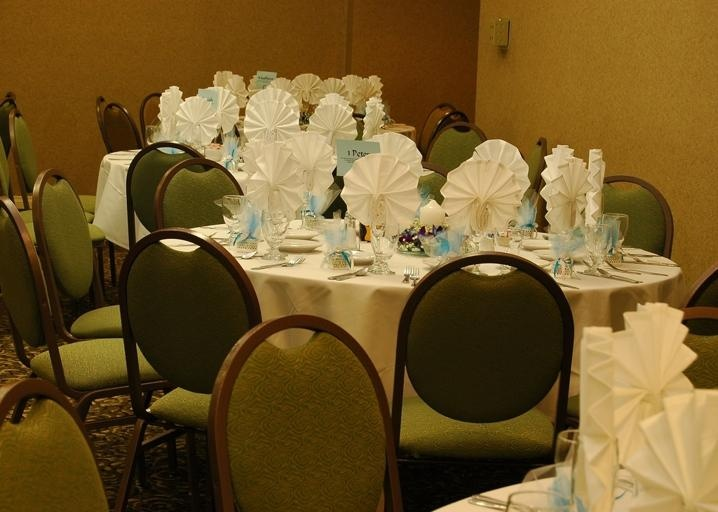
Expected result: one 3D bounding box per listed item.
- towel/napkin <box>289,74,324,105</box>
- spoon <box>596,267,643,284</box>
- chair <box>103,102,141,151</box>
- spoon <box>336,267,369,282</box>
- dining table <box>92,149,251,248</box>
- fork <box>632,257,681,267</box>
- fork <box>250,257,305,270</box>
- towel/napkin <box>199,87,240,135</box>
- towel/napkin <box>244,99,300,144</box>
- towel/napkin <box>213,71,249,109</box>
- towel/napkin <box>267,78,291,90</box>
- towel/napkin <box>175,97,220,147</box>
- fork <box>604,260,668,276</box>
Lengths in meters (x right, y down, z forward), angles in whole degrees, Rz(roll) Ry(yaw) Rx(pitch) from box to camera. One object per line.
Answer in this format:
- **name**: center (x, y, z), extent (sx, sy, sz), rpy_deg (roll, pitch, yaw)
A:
- **towel/napkin**: center (-0.571, -1.868, 6.228), extent (0.279, 0.346, 0.101), rpy_deg (0, 9, -14)
- **spoon**: center (1.154, 0.092, 2.493), extent (0.026, 0.026, 0.155), rpy_deg (-22, 23, -23)
- **chair**: center (-2.877, -1.563, 6.821), extent (0.410, 0.558, 0.268), rpy_deg (8, 17, 23)
- **spoon**: center (-0.033, 0.072, 2.341), extent (0.047, 0.041, 0.262), rpy_deg (51, 23, 20)
- **dining table**: center (-1.966, -0.418, 4.857), extent (0.951, 0.565, 0.973), rpy_deg (8, 0, 45)
- **fork**: center (1.472, 0.015, 2.808), extent (0.082, 0.053, 0.296), rpy_deg (11, 1, -11)
- **fork**: center (-0.359, 0.036, 2.456), extent (0.243, 0.040, 0.032), rpy_deg (-5, -3, -39)
- **towel/napkin**: center (-1.225, -1.349, 5.080), extent (0.356, 0.440, 0.117), rpy_deg (-13, 4, 13)
- **towel/napkin**: center (-0.605, -0.943, 3.921), extent (0.367, 0.268, 0.261), rpy_deg (-1, 16, -9)
- **towel/napkin**: center (-1.416, -1.911, 6.373), extent (0.400, 0.163, 0.425), rpy_deg (11, -11, 1)
- **towel/napkin**: center (-0.860, -1.838, 6.003), extent (0.250, 0.124, 0.346), rpy_deg (6, 17, 15)
- **towel/napkin**: center (-1.366, -1.121, 4.911), extent (0.370, 0.435, 0.372), rpy_deg (8, 6, 19)
- **fork**: center (1.294, 0.063, 2.635), extent (0.190, 0.033, 0.029), rpy_deg (11, 29, 20)
